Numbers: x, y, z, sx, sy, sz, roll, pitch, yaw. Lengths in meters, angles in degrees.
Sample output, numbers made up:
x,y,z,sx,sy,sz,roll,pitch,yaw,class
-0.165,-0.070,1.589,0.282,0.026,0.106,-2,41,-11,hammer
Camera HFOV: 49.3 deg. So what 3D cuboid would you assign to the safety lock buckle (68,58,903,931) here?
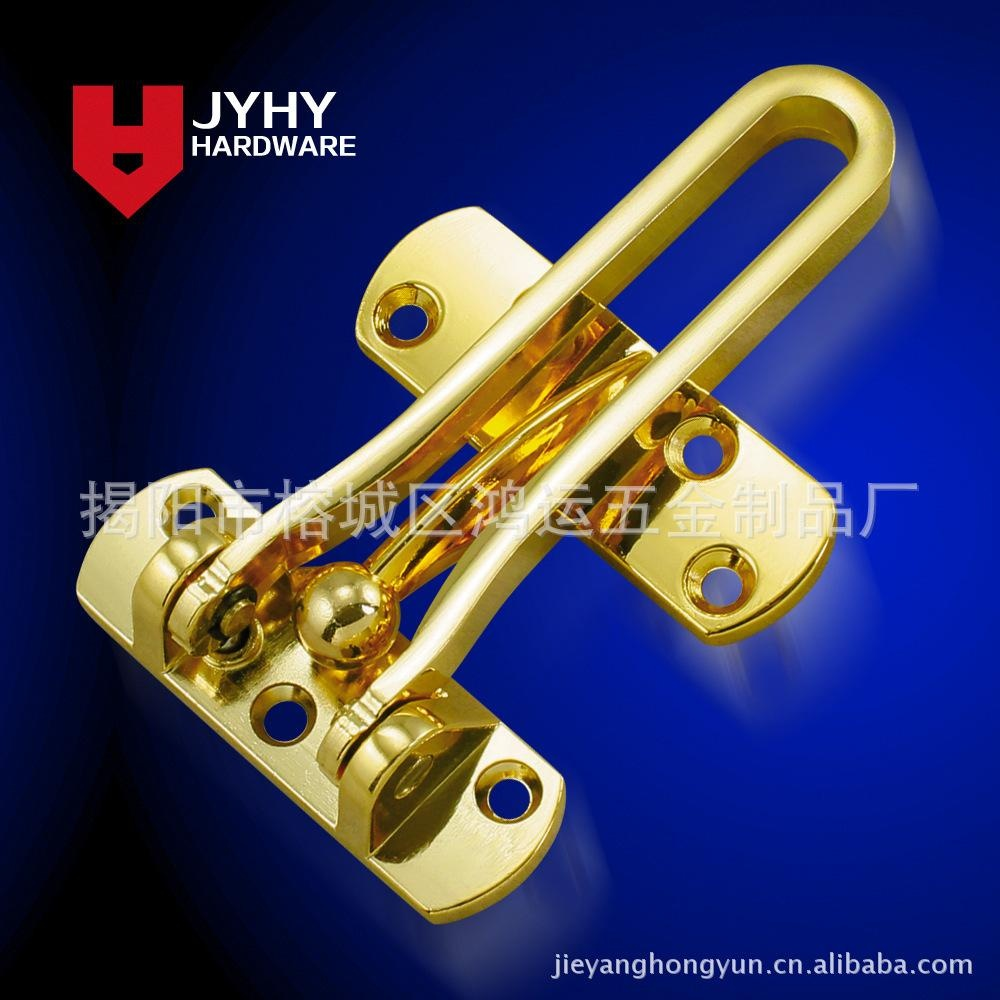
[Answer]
x,y,z,sx,sy,sz,roll,pitch,yaw,class
0.028,0.019,0.889,0.427,0.720,0.102,38,-15,16,safety lock buckle
